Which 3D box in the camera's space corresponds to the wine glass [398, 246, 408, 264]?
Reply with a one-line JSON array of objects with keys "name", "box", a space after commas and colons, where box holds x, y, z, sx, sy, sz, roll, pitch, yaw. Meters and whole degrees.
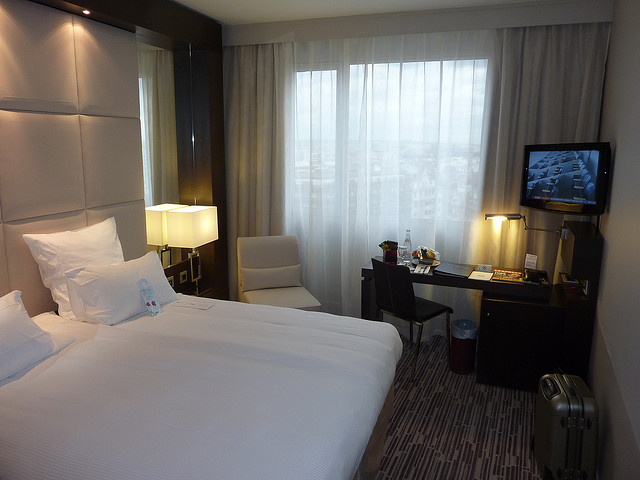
[{"name": "wine glass", "box": [0.816, 0.152, 4.396, 0.125, 0.192, 0.127, -1, 2, 3]}]

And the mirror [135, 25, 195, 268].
[{"name": "mirror", "box": [-1.440, -0.884, 4.388, 0.388, 2.142, 0.102, -2, -4, -1]}]

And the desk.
[{"name": "desk", "box": [1.200, 0.361, 3.870, 1.770, 1.396, 0.731, 6, 25, -5]}]

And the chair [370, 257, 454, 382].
[{"name": "chair", "box": [0.801, 0.622, 4.155, 0.495, 0.893, 0.534, 6, 15, 40]}]

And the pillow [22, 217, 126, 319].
[{"name": "pillow", "box": [-1.755, 0.224, 3.389, 0.351, 0.656, 0.672, 8, 18, 36]}]

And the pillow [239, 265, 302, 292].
[{"name": "pillow", "box": [-0.512, 0.381, 4.577, 0.614, 0.213, 0.116, -3, 13, -13]}]

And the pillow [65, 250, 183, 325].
[{"name": "pillow", "box": [-1.563, 0.391, 3.415, 0.341, 0.411, 0.859, 8, -2, 7]}]
